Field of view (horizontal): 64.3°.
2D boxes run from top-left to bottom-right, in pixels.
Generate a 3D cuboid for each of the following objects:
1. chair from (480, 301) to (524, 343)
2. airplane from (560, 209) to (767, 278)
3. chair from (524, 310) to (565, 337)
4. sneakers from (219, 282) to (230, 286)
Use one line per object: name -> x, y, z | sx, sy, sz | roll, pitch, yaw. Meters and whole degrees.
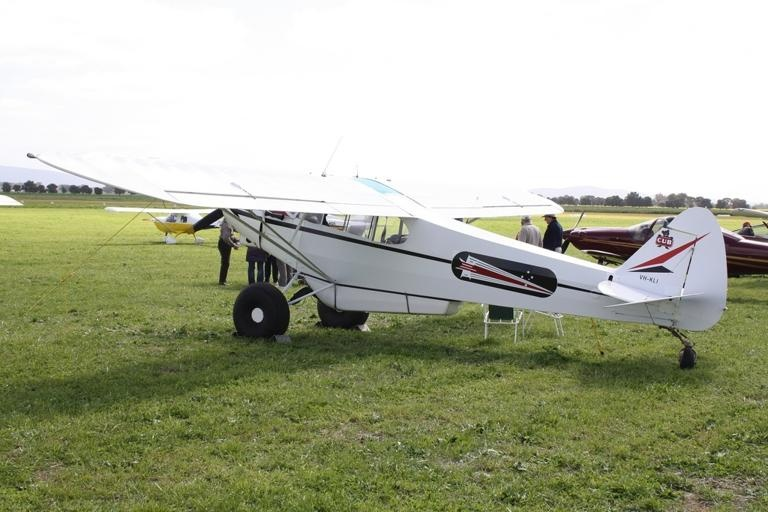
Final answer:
chair -> 2.193, 1.246, 11.235 | 0.735, 1.142, 0.705 | 3, 18, 15
airplane -> 8.232, -0.340, 17.362 | 3.565, 0.885, 3.077 | -2, 12, -45
chair -> 3.221, 1.339, 12.299 | 0.701, 0.351, 0.697 | -2, 0, 24
sneakers -> -4.174, 0.739, 15.916 | 0.156, 0.059, 0.085 | -9, 15, -19
